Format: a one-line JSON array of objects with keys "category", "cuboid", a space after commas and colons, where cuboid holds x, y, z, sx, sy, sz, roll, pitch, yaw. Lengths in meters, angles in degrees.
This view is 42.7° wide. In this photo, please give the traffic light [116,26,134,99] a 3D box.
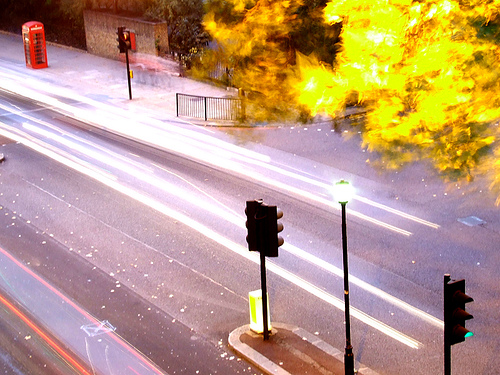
[{"category": "traffic light", "cuboid": [-5.848, -5.965, 30.335, 0.682, 3.489, 0.779, 1, 4, -6]}]

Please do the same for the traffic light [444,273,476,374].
[{"category": "traffic light", "cuboid": [3.845, 2.654, 11.912, 0.537, 2.145, 0.310, 6, 15, 20]}]

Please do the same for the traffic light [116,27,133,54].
[{"category": "traffic light", "cuboid": [-5.956, -7.100, 30.168, 0.693, 1.181, 0.859, -2, 15, -11]}]

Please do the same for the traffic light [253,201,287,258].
[{"category": "traffic light", "cuboid": [0.430, 0.983, 14.445, 0.623, 1.313, 0.372, 7, 16, 24]}]
